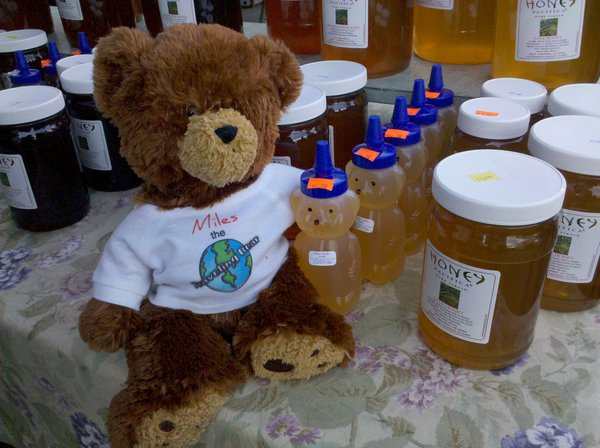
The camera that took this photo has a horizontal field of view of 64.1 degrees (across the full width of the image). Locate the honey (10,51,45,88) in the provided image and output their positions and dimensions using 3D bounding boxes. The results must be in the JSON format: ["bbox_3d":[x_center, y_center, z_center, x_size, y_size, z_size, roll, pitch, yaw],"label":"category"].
[{"bbox_3d":[-0.555,-0.308,0.957,0.079,0.063,0.055,24,40,35],"label":"honey"}]

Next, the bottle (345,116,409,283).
[{"bbox_3d":[0.114,-0.034,0.735,0.106,0.254,0.103,-4,27,2],"label":"bottle"}]

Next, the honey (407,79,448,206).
[{"bbox_3d":[0.196,-0.130,0.810,0.085,0.209,0.086,2,22,11],"label":"honey"}]

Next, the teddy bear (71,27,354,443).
[{"bbox_3d":[-0.126,0.008,0.602,0.336,0.438,0.296,-11,33,-13],"label":"teddy bear"}]
